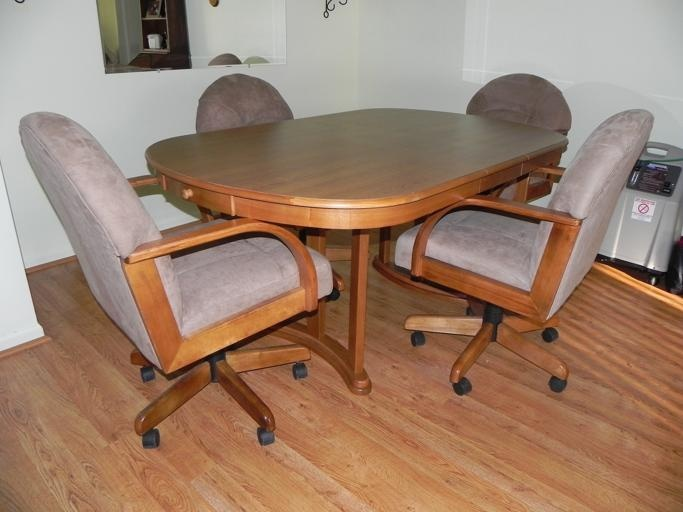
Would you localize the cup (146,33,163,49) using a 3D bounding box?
[{"bbox_3d":[-1.210,-1.386,3.536,0.095,0.072,0.092,3,32,-2],"label":"cup"}]

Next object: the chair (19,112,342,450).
[{"bbox_3d":[-0.589,-0.180,2.630,1.455,1.559,1.208,-17,36,-34],"label":"chair"}]

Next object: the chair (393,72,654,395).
[{"bbox_3d":[0.725,-0.023,2.383,0.792,1.241,0.604,17,30,28],"label":"chair"}]

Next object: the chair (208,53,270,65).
[{"bbox_3d":[-0.770,-1.446,4.036,0.313,0.103,0.152,-13,38,-30],"label":"chair"}]

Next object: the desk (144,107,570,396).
[{"bbox_3d":[0.145,-0.145,2.900,1.338,0.908,1.975,20,30,36],"label":"desk"}]
